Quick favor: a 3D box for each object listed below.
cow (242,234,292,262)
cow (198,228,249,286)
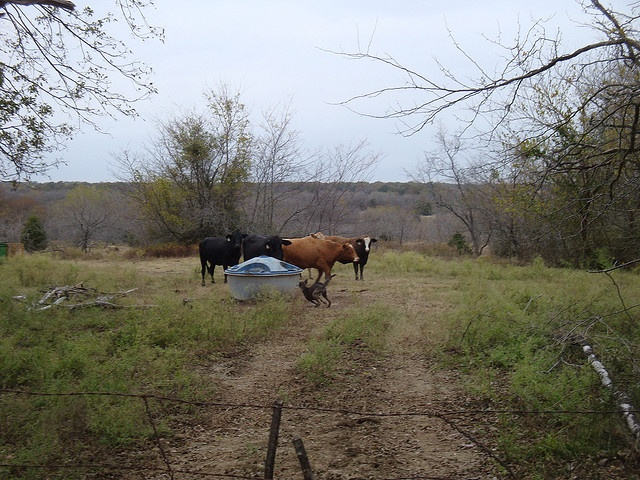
[{"bbox_3d":[-1.891,0.247,17.830,0.828,0.845,1.657,-2,-1,-39],"label":"cow"},{"bbox_3d":[-3.401,0.642,18.614,1.849,1.820,1.393,-3,-1,10],"label":"cow"}]
